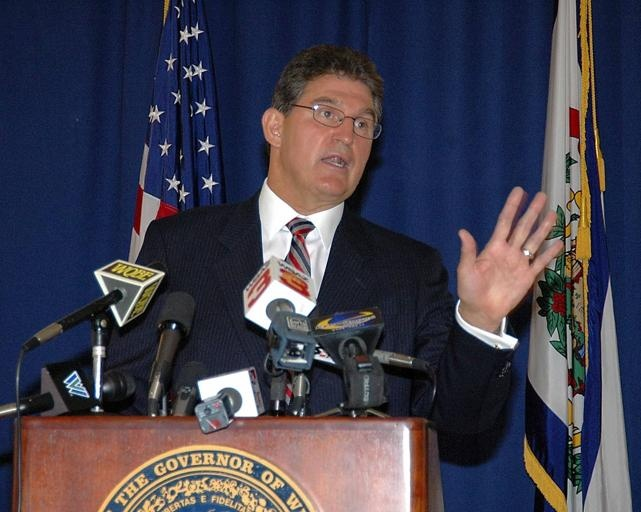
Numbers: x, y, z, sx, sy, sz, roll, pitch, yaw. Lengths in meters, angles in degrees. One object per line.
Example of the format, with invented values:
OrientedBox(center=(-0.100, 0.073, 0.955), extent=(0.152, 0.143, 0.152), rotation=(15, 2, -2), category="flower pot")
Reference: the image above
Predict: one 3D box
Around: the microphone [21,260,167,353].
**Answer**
OrientedBox(center=(-0.802, 0.201, 2.841), extent=(0.233, 0.245, 0.467), rotation=(7, 17, 38), category="microphone")

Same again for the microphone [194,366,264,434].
OrientedBox(center=(-0.296, 0.476, 2.622), extent=(0.153, 0.203, 0.061), rotation=(-11, 28, 3), category="microphone")

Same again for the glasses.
OrientedBox(center=(0.099, -0.640, 3.790), extent=(0.218, 0.082, 0.240), rotation=(22, -10, -24), category="glasses")

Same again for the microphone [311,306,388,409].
OrientedBox(center=(0.095, 0.350, 2.623), extent=(0.233, 0.324, 0.206), rotation=(0, 7, 2), category="microphone")

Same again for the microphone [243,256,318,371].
OrientedBox(center=(-0.125, 0.190, 2.669), extent=(0.252, 0.350, 0.333), rotation=(-1, 7, -7), category="microphone")

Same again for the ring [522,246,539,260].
OrientedBox(center=(0.813, -0.023, 3.164), extent=(0.045, 0.016, 0.047), rotation=(33, 12, -8), category="ring")
